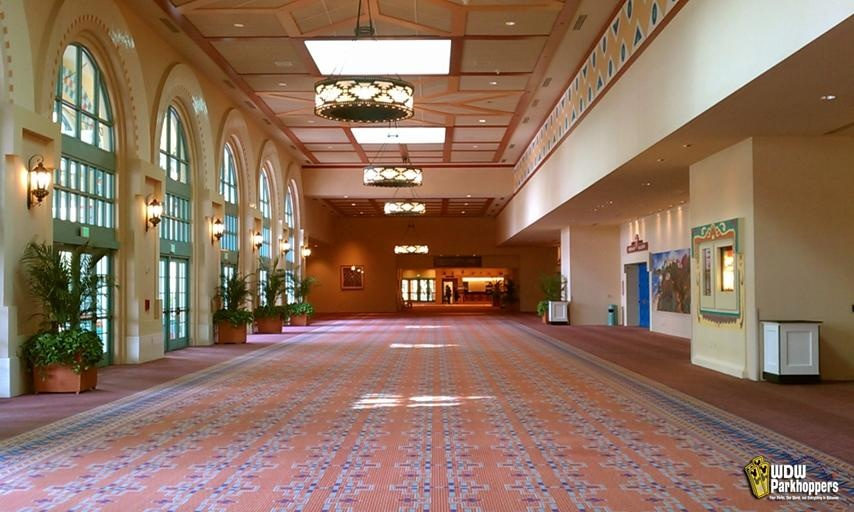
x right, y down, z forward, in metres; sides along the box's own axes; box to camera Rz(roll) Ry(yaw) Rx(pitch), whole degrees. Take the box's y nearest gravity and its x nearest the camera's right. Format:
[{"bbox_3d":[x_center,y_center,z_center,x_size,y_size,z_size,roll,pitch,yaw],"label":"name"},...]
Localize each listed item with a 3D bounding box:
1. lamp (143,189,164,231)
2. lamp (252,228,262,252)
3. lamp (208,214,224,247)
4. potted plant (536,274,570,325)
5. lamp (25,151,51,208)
[{"bbox_3d":[-7.882,-1.252,14.623,0.347,1.074,0.496,0,-1,1],"label":"lamp"},{"bbox_3d":[-7.469,-0.683,22.271,0.307,0.892,0.893,0,-1,-5],"label":"lamp"},{"bbox_3d":[-7.702,-0.960,18.551,0.308,1.041,0.666,0,-1,-5],"label":"lamp"},{"bbox_3d":[7.015,2.379,28.094,1.439,2.604,3.665,0,-1,10],"label":"potted plant"},{"bbox_3d":[-8.289,-1.579,10.755,0.320,1.171,0.413,1,-1,-40],"label":"lamp"}]
